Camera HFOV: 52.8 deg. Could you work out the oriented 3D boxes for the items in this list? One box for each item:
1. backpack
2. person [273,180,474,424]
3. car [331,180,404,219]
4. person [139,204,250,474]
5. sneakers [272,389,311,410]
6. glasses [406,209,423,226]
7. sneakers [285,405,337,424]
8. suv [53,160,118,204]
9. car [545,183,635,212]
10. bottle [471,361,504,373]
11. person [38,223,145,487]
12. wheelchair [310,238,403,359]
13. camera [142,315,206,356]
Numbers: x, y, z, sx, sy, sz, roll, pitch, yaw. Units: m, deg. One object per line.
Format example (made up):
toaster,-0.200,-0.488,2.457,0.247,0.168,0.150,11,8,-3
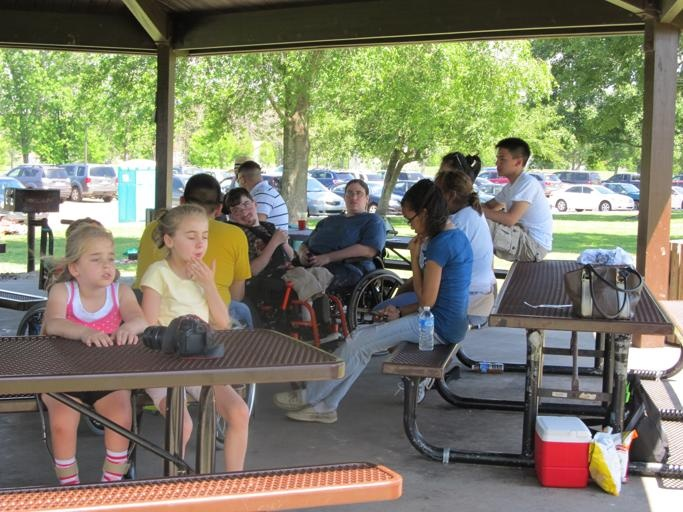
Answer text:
backpack,1.874,1.031,4.449,0.436,0.582,0.474,-3,12,0
person,0.235,-0.068,6.753,1.206,1.342,0.783,-16,0,28
car,1.433,-2.123,25.829,1.558,1.164,3.269,-2,3,-28
person,-0.772,0.378,3.552,0.502,1.275,0.769,0,6,-16
sneakers,-0.366,1.071,5.031,0.295,0.127,0.118,-9,-6,-6
glasses,0.510,-0.263,4.746,0.042,0.119,0.091,-5,10,-32
sneakers,-0.220,1.134,4.956,0.347,0.137,0.131,3,-2,1
suv,-11.058,-3.170,29.238,1.758,1.369,3.364,-5,13,-40
car,10.955,-2.429,30.626,3.404,1.083,1.563,-2,8,-5
bottle,1.307,1.011,6.160,0.193,0.066,0.139,0,2,-7
person,-1.185,0.528,3.314,0.463,1.373,0.726,-1,6,-23
wheelchair,0.264,0.303,6.557,0.950,1.002,0.707,-4,15,-9
camera,-0.664,0.344,2.950,0.339,0.146,0.324,-4,-8,38
